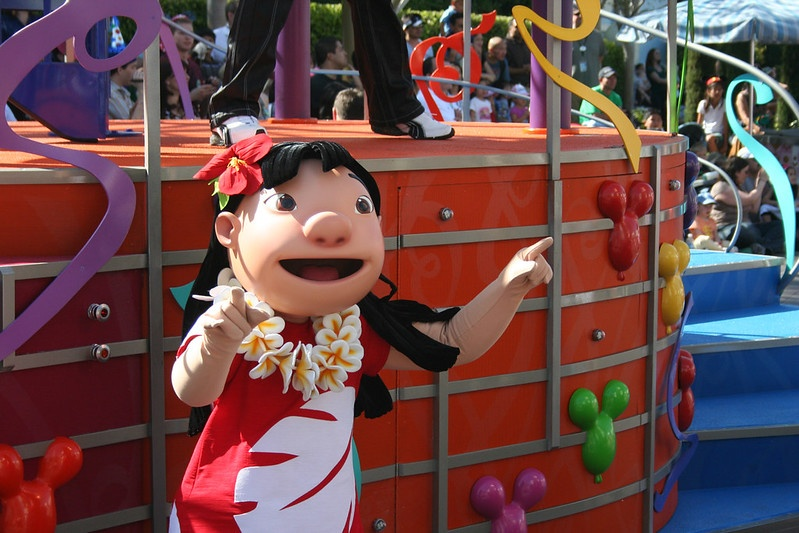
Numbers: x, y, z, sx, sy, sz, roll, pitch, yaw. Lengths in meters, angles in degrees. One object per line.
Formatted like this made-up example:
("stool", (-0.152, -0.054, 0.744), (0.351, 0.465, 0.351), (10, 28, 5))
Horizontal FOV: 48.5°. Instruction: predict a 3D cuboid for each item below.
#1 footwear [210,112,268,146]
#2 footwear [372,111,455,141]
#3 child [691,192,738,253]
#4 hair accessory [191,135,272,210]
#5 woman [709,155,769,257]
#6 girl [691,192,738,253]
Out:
("footwear", (-0.677, -0.554, 3.719), (0.277, 0.148, 0.165), (-1, 3, 24))
("footwear", (0.067, -0.641, 4.277), (0.385, 0.213, 0.162), (-1, 6, 3))
("child", (2.576, -0.356, 7.309), (0.386, 0.615, 0.338), (4, -9, -29))
("hair accessory", (-0.516, -0.260, 2.738), (0.246, 0.095, 0.258), (-22, -9, -17))
("woman", (3.238, -0.511, 8.398), (0.360, 1.080, 0.530), (16, -14, -26))
("girl", (2.576, -0.356, 7.309), (0.386, 0.615, 0.338), (4, -9, -29))
